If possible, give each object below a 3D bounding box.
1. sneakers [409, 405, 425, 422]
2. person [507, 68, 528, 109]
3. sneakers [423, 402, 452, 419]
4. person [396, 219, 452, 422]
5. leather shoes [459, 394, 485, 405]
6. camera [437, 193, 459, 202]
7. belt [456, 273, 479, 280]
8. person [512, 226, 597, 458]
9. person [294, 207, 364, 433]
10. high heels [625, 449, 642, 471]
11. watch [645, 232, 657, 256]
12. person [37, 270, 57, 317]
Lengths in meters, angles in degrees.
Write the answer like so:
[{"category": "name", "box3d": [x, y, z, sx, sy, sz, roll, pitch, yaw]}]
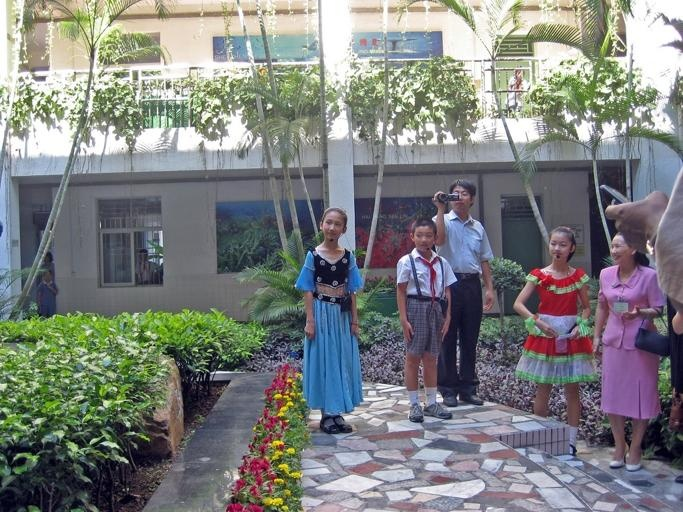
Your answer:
[{"category": "sneakers", "box3d": [0.686, 1.383, 5.631, 0.133, 0.165, 0.200, 4, 7, 7]}, {"category": "person", "box3d": [3.157, -2.986, 11.214, 0.313, 0.831, 1.543, 5, 7, 14]}, {"category": "sneakers", "box3d": [0.876, 1.401, 5.699, 0.267, 0.130, 0.101, 0, -2, 37]}, {"category": "person", "box3d": [0.768, 0.566, 5.606, 0.560, 1.797, 0.368, 4, 7, 5]}, {"category": "leather shoes", "box3d": [1.275, 1.376, 6.050, 0.238, 0.098, 0.089, -7, -5, 40]}, {"category": "camera", "box3d": [0.981, -0.534, 5.684, 0.100, 0.092, 0.333, 8, 8, 32]}, {"category": "belt", "box3d": [1.183, 0.181, 5.884, 0.208, 0.067, 0.050, 1, 8, -20]}, {"category": "person", "box3d": [1.848, 0.700, 5.389, 0.686, 1.904, 0.382, 5, 8, 17]}, {"category": "person", "box3d": [-0.094, 0.550, 5.432, 0.625, 1.939, 0.459, 2, 7, -5]}, {"category": "high heels", "box3d": [2.401, 1.663, 5.102, 0.073, 0.234, 0.093, -4, 6, 22]}, {"category": "watch", "box3d": [1.489, -0.059, 2.996, 0.032, 0.097, 0.066, 10, -12, -25]}, {"category": "person", "box3d": [-5.711, 0.826, 12.179, 0.329, 1.159, 0.291, 0, 13, -23]}]
